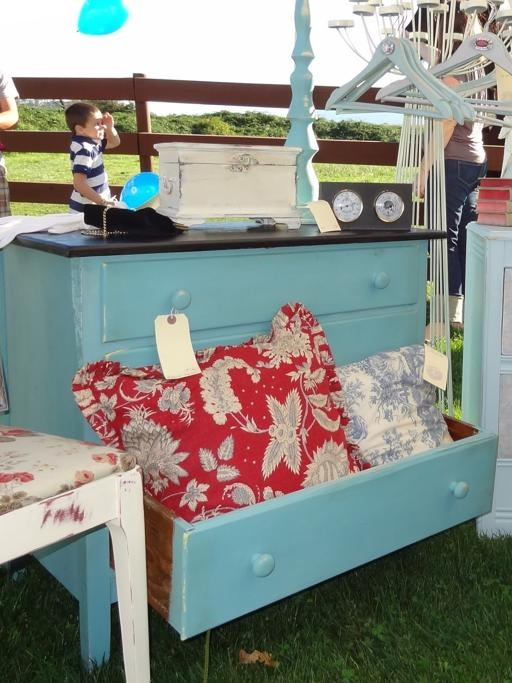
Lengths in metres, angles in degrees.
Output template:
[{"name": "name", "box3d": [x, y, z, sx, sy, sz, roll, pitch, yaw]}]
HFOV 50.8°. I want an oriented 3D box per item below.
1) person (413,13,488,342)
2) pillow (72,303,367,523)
[{"name": "person", "box3d": [0.901, -1.054, 2.708, 0.305, 1.224, 0.253, 7, 54, 18]}, {"name": "pillow", "box3d": [-0.027, 0.117, 0.972, 0.275, 0.330, 0.497, 9, 13, 40]}]
